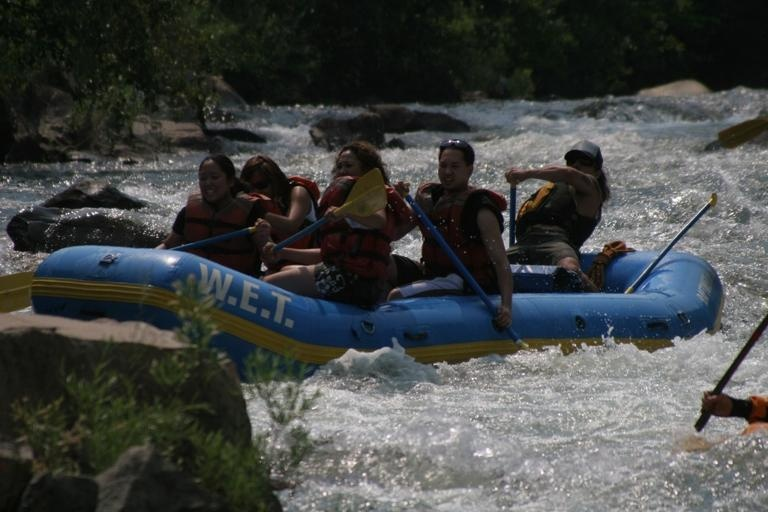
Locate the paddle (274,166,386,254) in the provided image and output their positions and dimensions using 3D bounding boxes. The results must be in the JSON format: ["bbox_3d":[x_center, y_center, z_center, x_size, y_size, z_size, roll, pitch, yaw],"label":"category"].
[{"bbox_3d":[-0.733,-0.705,17.956,2.409,0.753,0.278,-25,-14,24],"label":"paddle"}]

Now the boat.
[{"bbox_3d":[0.324,0.825,17.751,8.338,1.252,3.590,1,-3,-25],"label":"boat"}]

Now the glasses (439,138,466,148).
[{"bbox_3d":[1.072,-1.719,18.133,0.397,0.120,0.104,0,21,7],"label":"glasses"}]
